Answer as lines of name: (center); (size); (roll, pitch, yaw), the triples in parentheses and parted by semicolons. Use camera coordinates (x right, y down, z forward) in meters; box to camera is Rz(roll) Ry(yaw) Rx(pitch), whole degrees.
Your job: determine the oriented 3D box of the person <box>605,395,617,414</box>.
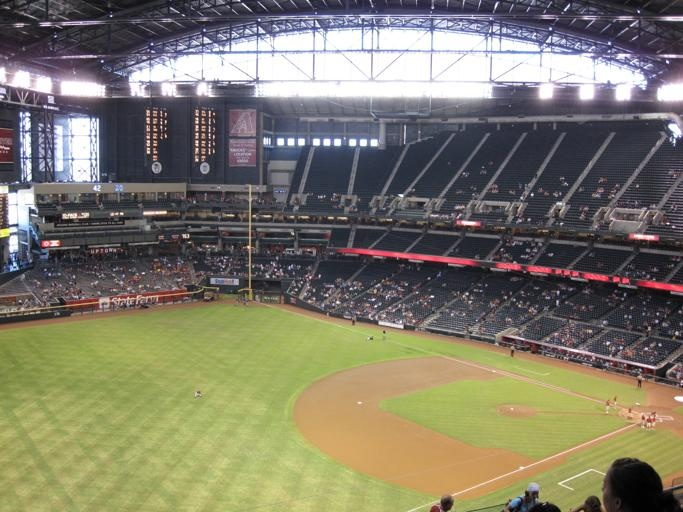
person: (20.855, 11.533, 48.364); (0.418, 0.537, 1.371); (-6, -2, 35)
